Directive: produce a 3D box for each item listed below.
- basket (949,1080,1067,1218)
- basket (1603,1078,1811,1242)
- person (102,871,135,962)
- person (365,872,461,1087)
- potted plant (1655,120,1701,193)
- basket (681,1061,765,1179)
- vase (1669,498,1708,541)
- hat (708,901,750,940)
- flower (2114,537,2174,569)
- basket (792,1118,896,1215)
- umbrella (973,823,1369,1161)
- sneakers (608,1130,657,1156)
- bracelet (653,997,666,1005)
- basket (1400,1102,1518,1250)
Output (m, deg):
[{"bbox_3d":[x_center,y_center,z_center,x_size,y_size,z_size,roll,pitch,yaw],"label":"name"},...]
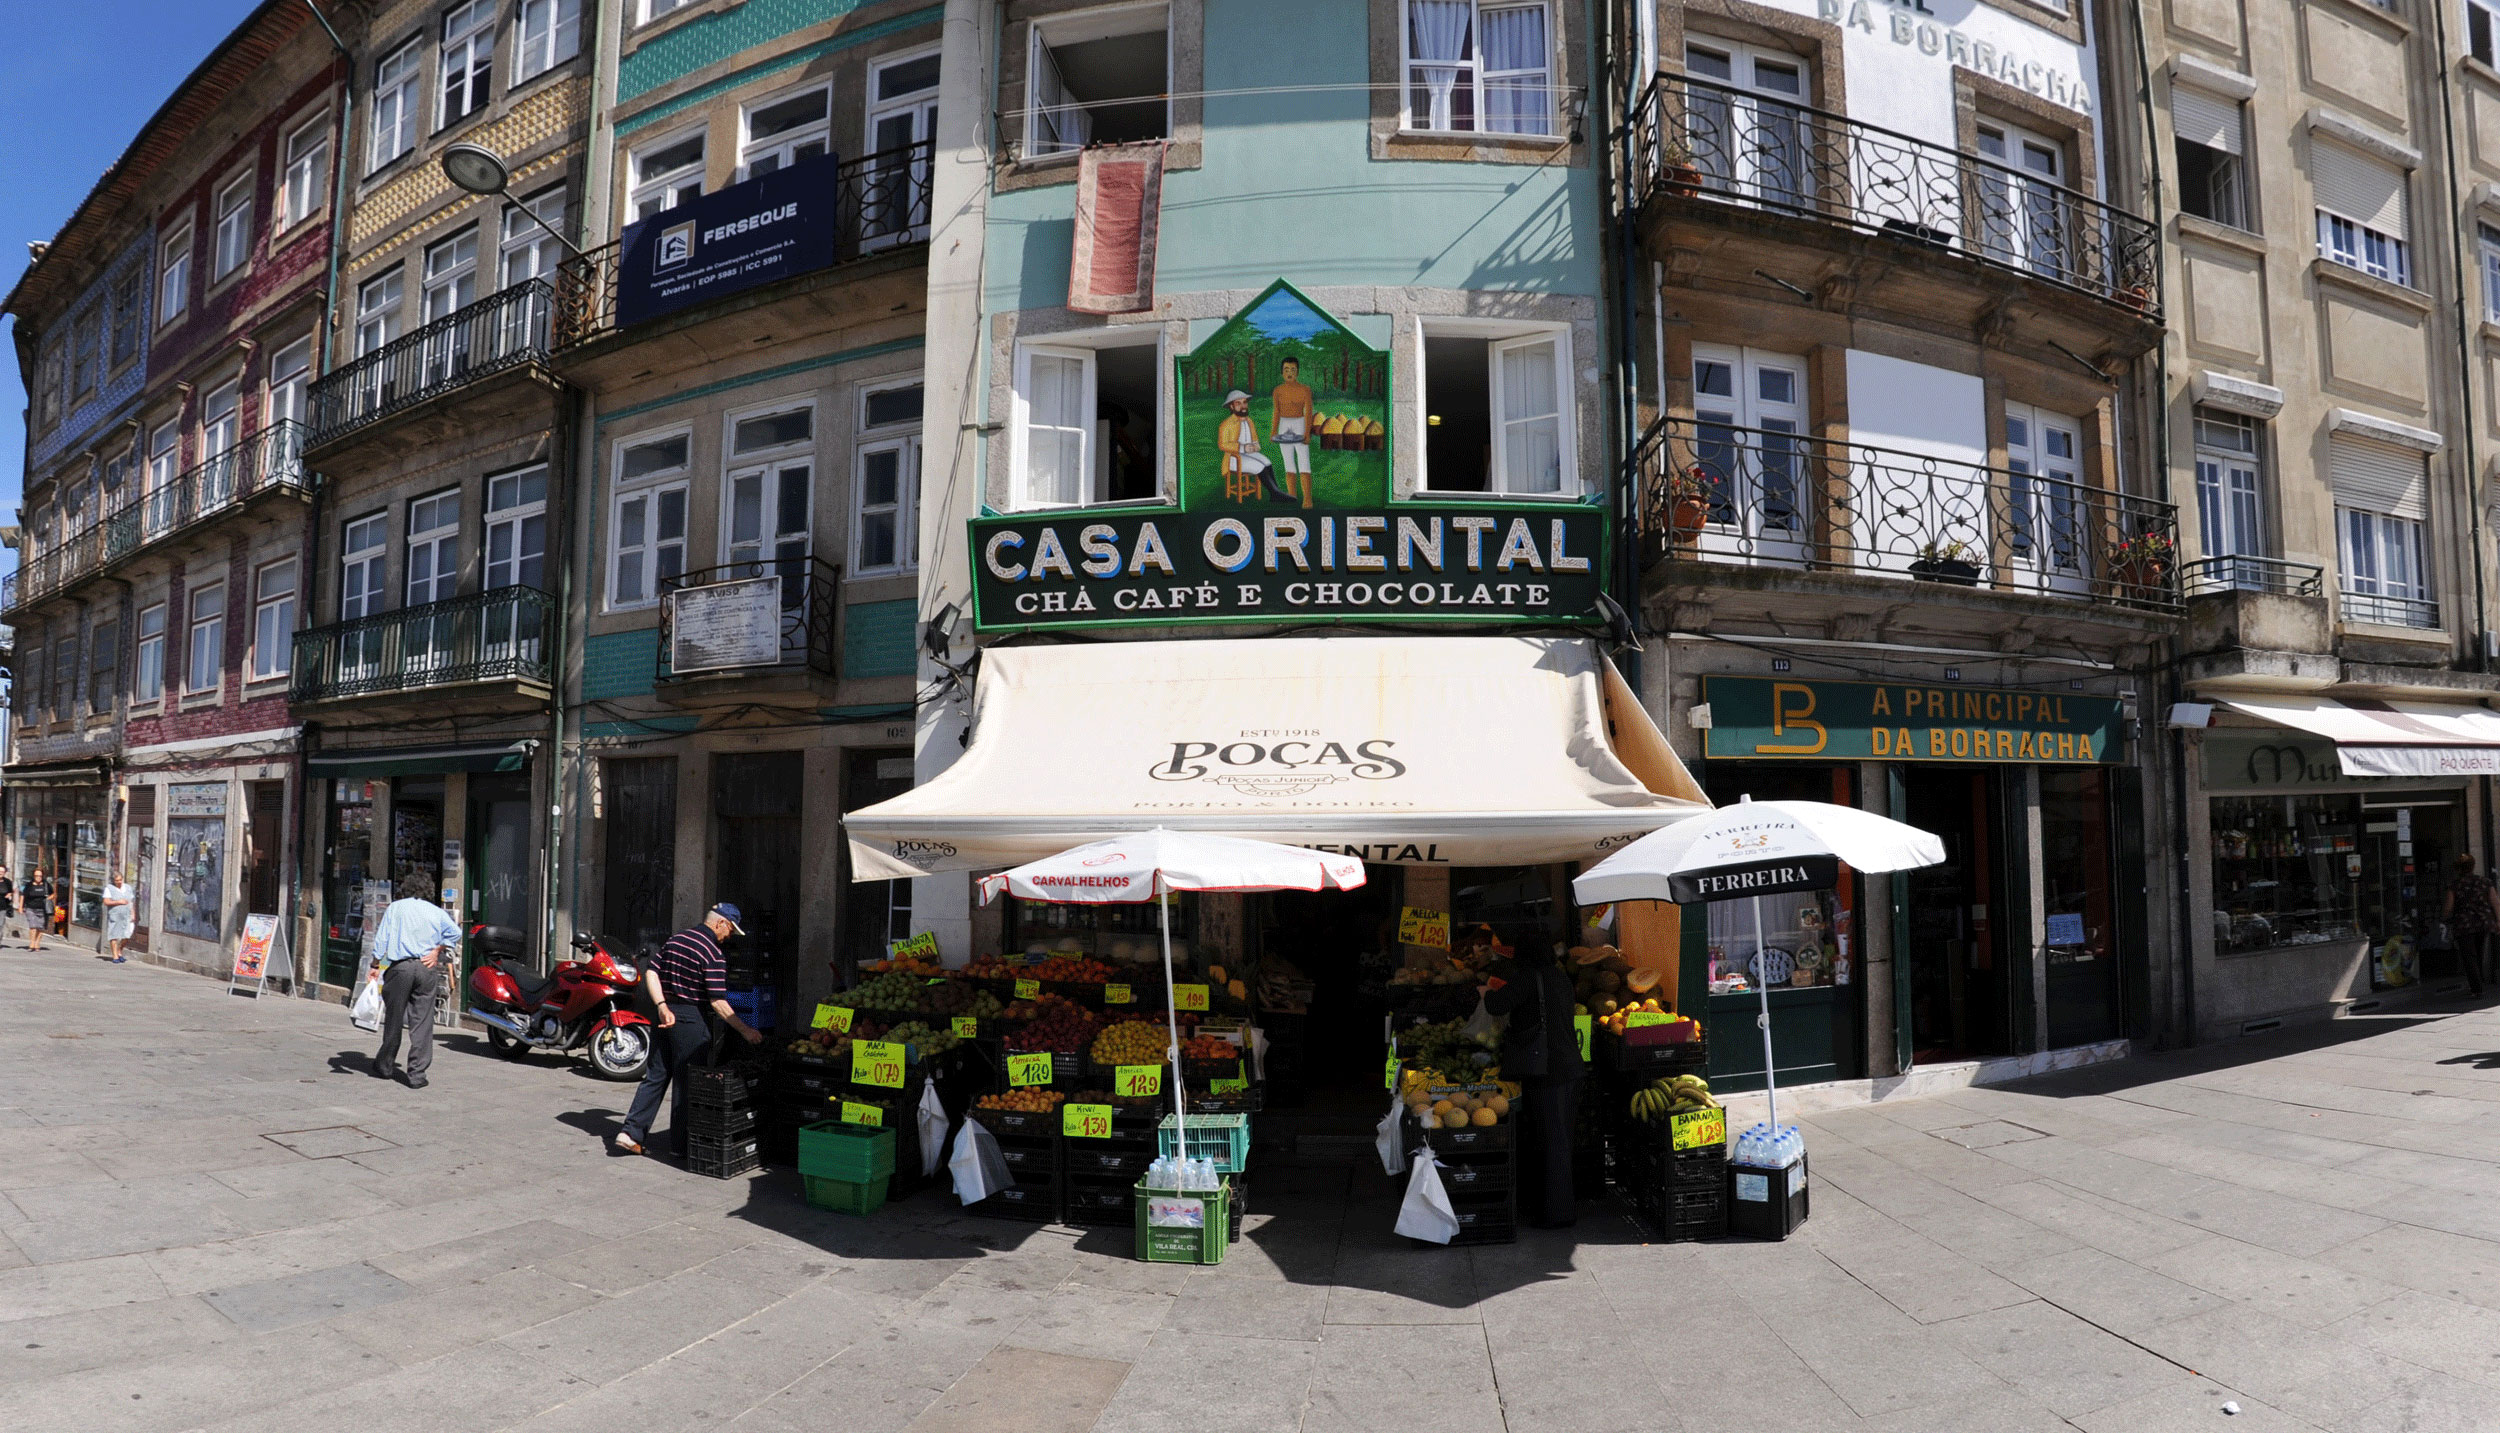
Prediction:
[{"bbox_3d":[-3.175,5.670,25.033,1.252,1.707,1.188,3,8,3],"label":"basket"},{"bbox_3d":[6.007,5.779,25.245,2.115,1.711,2.064,1,-7,-19],"label":"basket"},{"bbox_3d":[-23.298,4.018,38.979,0.588,1.828,1.216,4,-9,-31],"label":"person"},{"bbox_3d":[-12.774,3.981,28.794,1.035,3.141,1.304,2,-9,-25],"label":"person"},{"bbox_3d":[6.315,-8.103,27.760,0.396,1.183,0.914,-8,-10,39],"label":"potted plant"},{"bbox_3d":[-7.249,5.501,25.952,0.988,1.439,0.428,1,-8,-16],"label":"basket"},{"bbox_3d":[6.313,-2.824,27.285,0.566,0.675,0.269,4,-10,-34],"label":"vase"},{"bbox_3d":[-7.682,2.989,27.811,0.567,0.432,0.905,25,-6,1],"label":"hat"},{"bbox_3d":[13.710,-2.509,29.239,0.559,0.365,0.616,-2,6,-13],"label":"flower"},{"bbox_3d":[-5.396,5.883,25.510,1.687,1.289,0.978,3,4,23],"label":"basket"},{"bbox_3d":[-1.065,3.675,25.273,4.298,3.451,4.139,1,-9,-3],"label":"umbrella"},{"bbox_3d":[-8.614,5.870,26.268,0.545,0.209,0.276,3,3,-32],"label":"sneakers"},{"bbox_3d":[-8.211,3.907,26.223,0.100,0.097,0.030,29,-8,-2],"label":"bracelet"},{"bbox_3d":[2.923,6.067,25.299,1.698,2.262,1.413,0,-3,-1],"label":"basket"}]
